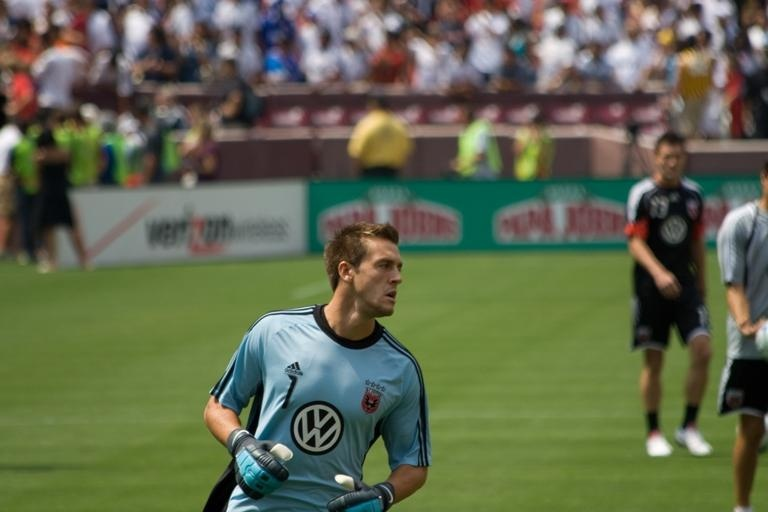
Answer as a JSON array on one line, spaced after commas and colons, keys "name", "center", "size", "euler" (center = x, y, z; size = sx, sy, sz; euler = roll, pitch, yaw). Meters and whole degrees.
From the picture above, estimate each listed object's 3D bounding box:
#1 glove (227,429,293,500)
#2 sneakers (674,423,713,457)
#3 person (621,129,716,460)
[{"name": "glove", "center": [-1.463, 2.296, 20.666], "size": [0.625, 0.488, 0.985], "euler": [20, 20, -33]}, {"name": "sneakers", "center": [4.045, 2.392, 23.216], "size": [0.504, 0.227, 0.265], "euler": [24, 28, 32]}, {"name": "person", "center": [3.748, 0.478, 23.384], "size": [1.042, 4.067, 1.291], "euler": [-2, 11, 7]}]
